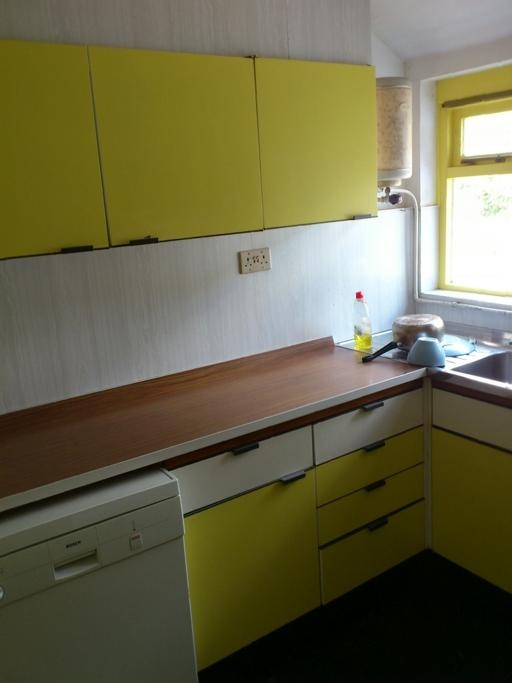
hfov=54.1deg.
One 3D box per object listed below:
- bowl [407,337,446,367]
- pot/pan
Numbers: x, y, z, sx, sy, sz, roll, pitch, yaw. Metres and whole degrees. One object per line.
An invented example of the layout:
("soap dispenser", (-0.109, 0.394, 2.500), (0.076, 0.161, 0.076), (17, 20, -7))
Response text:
("bowl", (0.602, 0.014, 1.759), (0.089, 0.086, 0.100), (3, 6, 33))
("pot/pan", (0.588, -0.083, 1.902), (0.152, 0.136, 0.358), (6, 28, 46))
